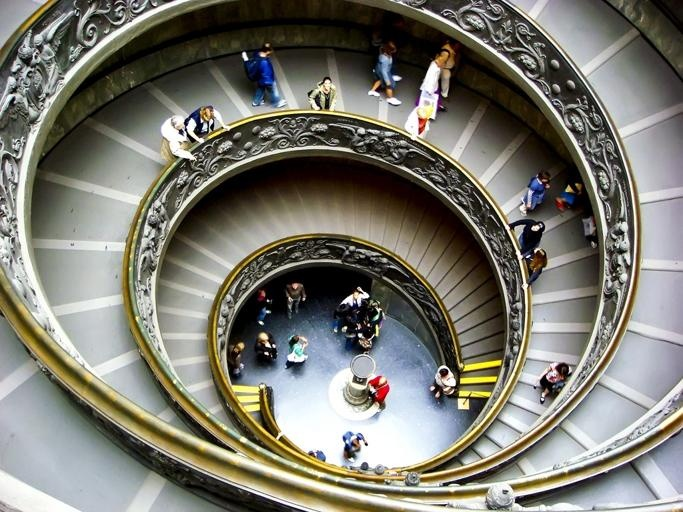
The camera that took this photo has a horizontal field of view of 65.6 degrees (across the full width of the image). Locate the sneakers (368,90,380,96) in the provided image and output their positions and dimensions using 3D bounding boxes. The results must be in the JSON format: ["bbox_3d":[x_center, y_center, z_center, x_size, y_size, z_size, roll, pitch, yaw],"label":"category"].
[{"bbox_3d":[0.931,-4.745,15.441,0.242,0.105,0.158,2,81,0],"label":"sneakers"}]

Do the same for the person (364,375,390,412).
[{"bbox_3d":[1.082,4.301,16.702,0.505,1.892,0.861,-18,57,-15],"label":"person"}]

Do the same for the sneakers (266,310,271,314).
[{"bbox_3d":[-2.612,1.983,18.778,0.118,0.114,0.051,19,46,-3],"label":"sneakers"}]

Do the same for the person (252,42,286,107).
[{"bbox_3d":[-2.015,-4.905,14.552,0.931,1.797,0.789,-26,83,-14],"label":"person"}]

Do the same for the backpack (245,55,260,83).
[{"bbox_3d":[-2.318,-4.901,13.870,0.394,0.173,0.628,0,110,11],"label":"backpack"}]

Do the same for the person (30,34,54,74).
[{"bbox_3d":[-5.475,-3.708,9.657,0.255,0.728,0.308,-20,94,-28],"label":"person"}]

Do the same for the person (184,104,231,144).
[{"bbox_3d":[-3.418,-3.300,13.398,0.679,1.151,0.697,-33,87,-28],"label":"person"}]

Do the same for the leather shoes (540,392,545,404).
[{"bbox_3d":[4.632,3.294,12.275,0.072,0.092,0.251,6,81,9],"label":"leather shoes"}]

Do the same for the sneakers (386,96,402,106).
[{"bbox_3d":[1.504,-4.481,15.480,0.348,0.148,0.218,18,70,10],"label":"sneakers"}]

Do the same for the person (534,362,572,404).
[{"bbox_3d":[4.681,2.843,11.755,0.596,1.190,0.654,9,71,4],"label":"person"}]
